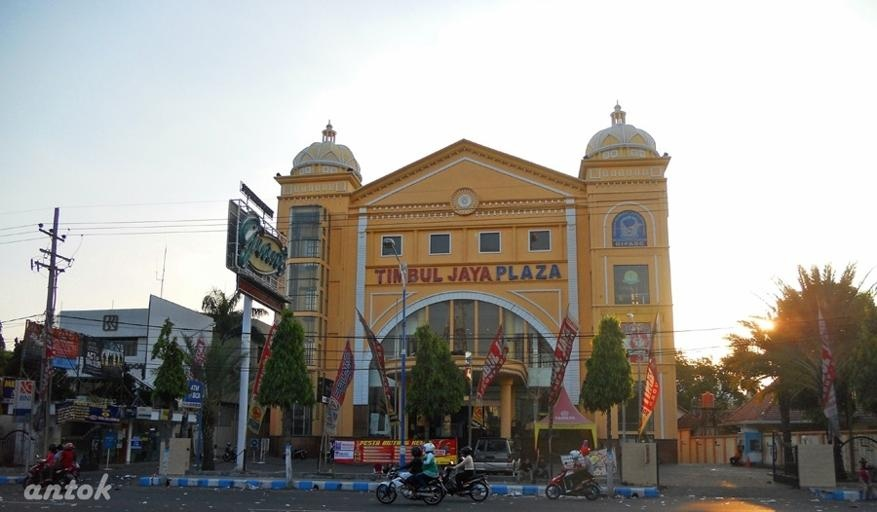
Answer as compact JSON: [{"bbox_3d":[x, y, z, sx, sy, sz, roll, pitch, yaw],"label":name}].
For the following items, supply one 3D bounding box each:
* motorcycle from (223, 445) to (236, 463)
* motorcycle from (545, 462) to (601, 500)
[{"bbox_3d":[-18.991,17.822,71.737,1.728,1.164,1.268,1,-17,2],"label":"motorcycle"},{"bbox_3d":[8.081,13.752,47.805,3.045,2.043,1.624,1,-26,4],"label":"motorcycle"}]
